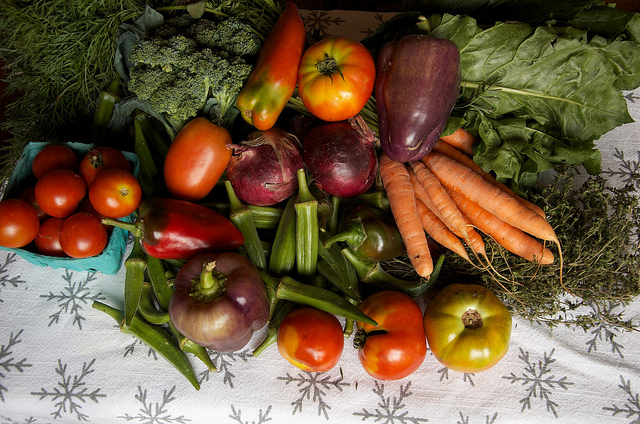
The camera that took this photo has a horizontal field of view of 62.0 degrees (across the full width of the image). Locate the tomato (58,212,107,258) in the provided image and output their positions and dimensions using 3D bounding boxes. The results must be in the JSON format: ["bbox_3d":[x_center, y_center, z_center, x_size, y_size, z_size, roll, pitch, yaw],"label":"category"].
[{"bbox_3d":[-0.663,0.054,1.552,0.128,0.132,0.123,7,11,17],"label":"tomato"}]

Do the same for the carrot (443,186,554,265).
[{"bbox_3d":[0.564,0.046,1.660,0.336,0.058,0.060,36,74,23],"label":"carrot"}]

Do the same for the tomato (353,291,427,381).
[{"bbox_3d":[0.209,0.368,1.583,0.211,0.229,0.142,9,19,4],"label":"tomato"}]

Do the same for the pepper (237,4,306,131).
[{"bbox_3d":[-0.136,-0.413,1.664,0.163,0.387,0.151,17,2,11],"label":"pepper"}]

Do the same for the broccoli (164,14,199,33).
[{"bbox_3d":[-0.437,-0.594,1.673,0.064,0.030,0.082,1,30,7],"label":"broccoli"}]

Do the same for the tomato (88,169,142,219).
[{"bbox_3d":[-0.584,-0.072,1.562,0.133,0.139,0.140,16,15,34],"label":"tomato"}]

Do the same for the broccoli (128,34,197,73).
[{"bbox_3d":[-0.477,-0.516,1.613,0.159,0.119,0.081,8,54,-56],"label":"broccoli"}]

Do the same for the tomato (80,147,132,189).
[{"bbox_3d":[-0.642,-0.149,1.578,0.124,0.128,0.126,-7,-11,6],"label":"tomato"}]

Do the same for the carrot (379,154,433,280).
[{"bbox_3d":[0.270,0.001,1.711,0.094,0.443,0.090,-21,-9,17],"label":"carrot"}]

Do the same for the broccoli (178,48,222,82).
[{"bbox_3d":[-0.367,-0.444,1.609,0.125,0.096,0.048,4,19,-13],"label":"broccoli"}]

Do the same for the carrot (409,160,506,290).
[{"bbox_3d":[0.438,0.047,1.680,0.060,0.050,0.457,-28,66,-2],"label":"carrot"}]

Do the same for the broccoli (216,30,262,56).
[{"bbox_3d":[-0.241,-0.517,1.641,0.105,0.038,0.076,4,35,3],"label":"broccoli"}]

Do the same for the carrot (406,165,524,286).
[{"bbox_3d":[0.464,0.047,1.676,0.060,0.032,0.432,-14,64,-44],"label":"carrot"}]

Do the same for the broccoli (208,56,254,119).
[{"bbox_3d":[-0.277,-0.375,1.587,0.108,0.145,0.078,3,3,-8],"label":"broccoli"}]

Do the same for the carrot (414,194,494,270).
[{"bbox_3d":[0.427,0.064,1.681,0.051,0.068,0.285,4,42,-49],"label":"carrot"}]

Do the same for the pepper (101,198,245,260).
[{"bbox_3d":[-0.446,0.043,1.617,0.406,0.168,0.194,4,58,-12],"label":"pepper"}]

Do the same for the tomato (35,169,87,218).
[{"bbox_3d":[-0.739,-0.065,1.548,0.130,0.140,0.136,-13,11,-25],"label":"tomato"}]

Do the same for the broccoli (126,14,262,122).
[{"bbox_3d":[-0.390,-0.447,1.654,0.387,0.325,0.171,8,18,-1],"label":"broccoli"}]
